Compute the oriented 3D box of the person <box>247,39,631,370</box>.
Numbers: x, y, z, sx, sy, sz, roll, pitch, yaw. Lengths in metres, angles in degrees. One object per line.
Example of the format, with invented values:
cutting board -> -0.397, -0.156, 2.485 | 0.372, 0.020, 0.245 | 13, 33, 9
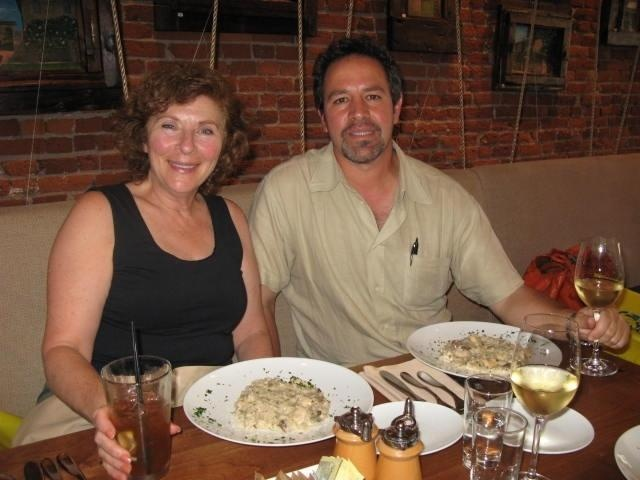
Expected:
person -> 0.505, -0.204, 2.289 | 1.737, 1.356, 0.901 | -15, 17, -22
